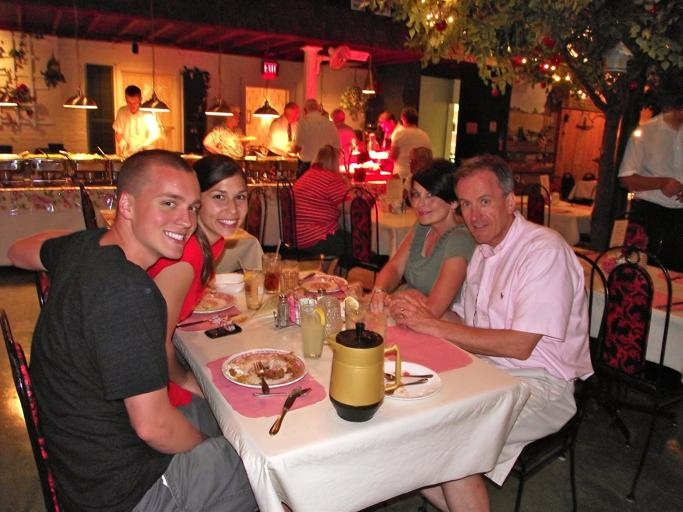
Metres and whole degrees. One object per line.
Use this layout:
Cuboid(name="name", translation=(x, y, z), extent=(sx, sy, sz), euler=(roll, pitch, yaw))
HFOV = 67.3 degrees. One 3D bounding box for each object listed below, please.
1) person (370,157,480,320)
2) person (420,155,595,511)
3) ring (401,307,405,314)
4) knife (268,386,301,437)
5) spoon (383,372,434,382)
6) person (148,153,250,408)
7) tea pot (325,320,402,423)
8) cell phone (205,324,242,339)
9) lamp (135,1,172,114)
Cuboid(name="person", translation=(0.412, 0.033, 2.774), extent=(0.581, 1.052, 0.580), euler=(3, 23, 8))
Cuboid(name="person", translation=(0.724, 0.223, 2.223), extent=(0.640, 1.287, 0.648), euler=(8, 14, 37))
Cuboid(name="ring", translation=(0.267, 0.239, 2.223), extent=(0.013, 0.021, 0.020), euler=(-1, -11, 11))
Cuboid(name="knife", translation=(-0.179, 0.491, 1.623), extent=(0.033, 0.016, 0.207), euler=(38, 23, 0))
Cuboid(name="spoon", translation=(0.245, 0.426, 1.807), extent=(0.194, 0.023, 0.058), euler=(-3, 3, -6))
Cuboid(name="person", translation=(-0.551, 0.108, 1.958), extent=(0.346, 1.126, 0.365), euler=(5, 46, -10))
Cuboid(name="tea pot", translation=(0.004, 0.364, 1.653), extent=(0.296, 0.331, 0.210), euler=(3, 8, -10))
Cuboid(name="cell phone", translation=(-0.491, 0.302, 2.123), extent=(0.106, 0.022, 0.061), euler=(-7, 9, -25))
Cuboid(name="lamp", translation=(-2.937, -2.886, 7.962), extent=(0.354, 1.473, 3.275), euler=(-4, 11, -18))
